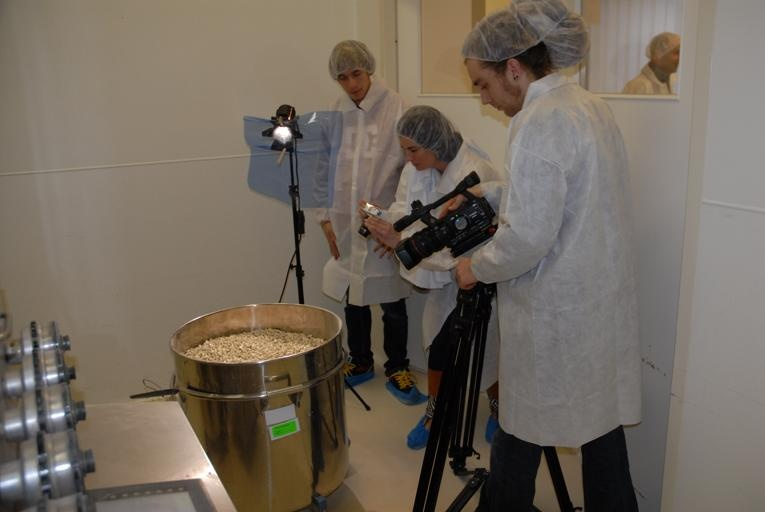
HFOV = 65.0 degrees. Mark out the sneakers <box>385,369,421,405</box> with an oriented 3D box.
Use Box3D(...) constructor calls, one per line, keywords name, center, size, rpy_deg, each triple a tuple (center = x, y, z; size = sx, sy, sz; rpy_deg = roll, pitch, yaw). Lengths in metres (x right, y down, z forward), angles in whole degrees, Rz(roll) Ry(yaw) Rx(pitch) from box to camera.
Box3D(name="sneakers", center=(0.127, 0.760, 3.561), size=(0.109, 0.114, 0.239), rpy_deg=(-21, 21, -32))
